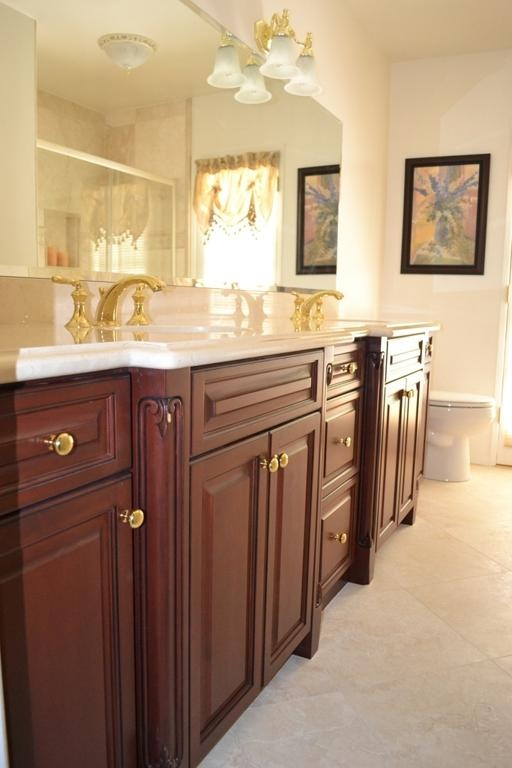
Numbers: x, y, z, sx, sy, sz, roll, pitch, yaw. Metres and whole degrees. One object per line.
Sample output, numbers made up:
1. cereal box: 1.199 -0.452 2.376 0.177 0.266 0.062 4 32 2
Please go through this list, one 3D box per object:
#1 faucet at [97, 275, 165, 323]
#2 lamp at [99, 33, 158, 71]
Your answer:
1. faucet: -0.242 -0.152 1.050 0.110 0.090 0.250 -1 5 -17
2. lamp: -0.302 -0.797 1.336 0.094 0.043 0.096 9 14 38
